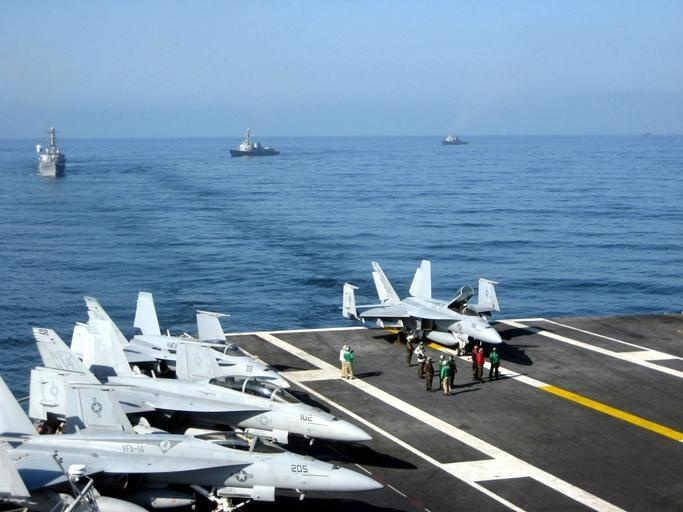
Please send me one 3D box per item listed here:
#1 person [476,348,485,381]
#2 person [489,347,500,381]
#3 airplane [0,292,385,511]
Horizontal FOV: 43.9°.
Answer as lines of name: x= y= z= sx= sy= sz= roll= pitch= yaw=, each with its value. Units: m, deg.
person: x=7.154 y=5.499 z=43.791 sx=0.428 sy=1.707 sz=1.221 roll=5 pitch=16 yaw=13
person: x=7.901 y=5.517 z=43.731 sx=0.495 sy=1.704 sz=1.269 roll=4 pitch=16 yaw=9
airplane: x=-6.690 y=6.640 z=38.470 sx=11.222 sy=3.119 sz=7.803 roll=8 pitch=18 yaw=14
